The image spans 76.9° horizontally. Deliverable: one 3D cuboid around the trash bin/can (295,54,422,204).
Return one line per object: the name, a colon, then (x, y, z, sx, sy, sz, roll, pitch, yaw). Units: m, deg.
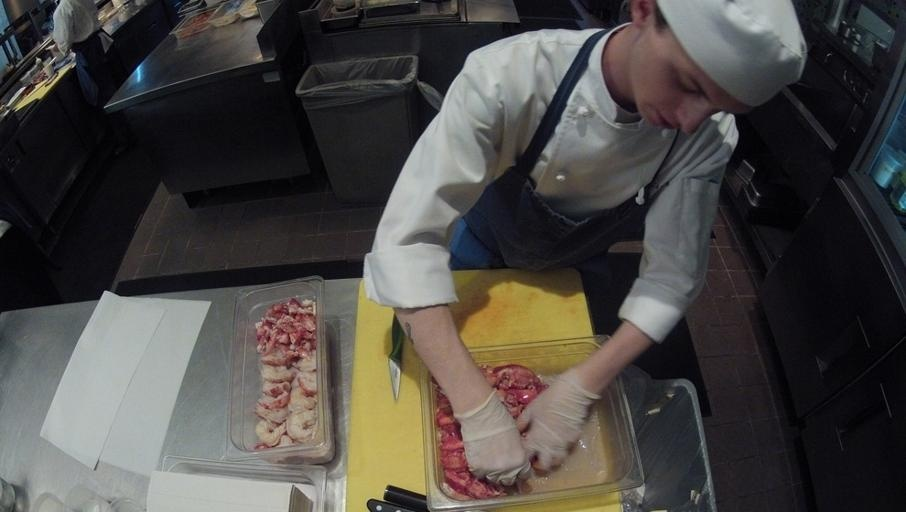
trash bin/can: (-0.603, -0.666, 4.056, 0.739, 0.643, 0.892, -8, 57, -11)

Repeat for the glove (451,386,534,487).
glove: (0.164, 0.770, 2.364, 0.230, 0.268, 0.247, -17, 39, -10)

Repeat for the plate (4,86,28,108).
plate: (-2.863, -1.044, 3.742, 0.171, 0.039, 0.040, -55, 18, -15)

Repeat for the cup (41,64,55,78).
cup: (-2.856, -1.314, 4.037, 0.038, 0.065, 0.155, -15, 40, -9)
